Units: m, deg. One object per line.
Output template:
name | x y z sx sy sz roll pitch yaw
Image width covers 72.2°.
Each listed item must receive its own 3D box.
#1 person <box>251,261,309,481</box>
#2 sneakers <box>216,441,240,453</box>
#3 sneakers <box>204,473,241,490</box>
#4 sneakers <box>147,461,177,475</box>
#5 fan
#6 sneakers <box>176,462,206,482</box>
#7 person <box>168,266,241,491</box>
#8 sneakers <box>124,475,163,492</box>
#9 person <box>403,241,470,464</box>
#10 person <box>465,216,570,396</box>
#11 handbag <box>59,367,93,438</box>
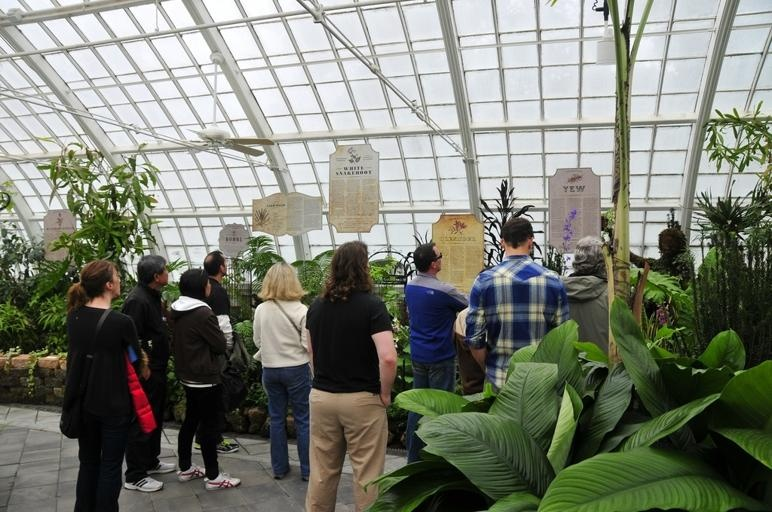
person | -0.826 0.979 4.531 0.578 1.857 0.347 0 3 42
sneakers | -1.571 1.888 5.276 0.223 0.089 0.093 2 5 -2
sneakers | -1.352 1.833 4.384 0.300 0.120 0.106 1 1 -20
sneakers | -1.984 1.856 4.687 0.236 0.091 0.083 0 -2 -13
fan | -3.166 -2.942 10.094 1.539 1.568 1.750 2 15 -15
sneakers | -1.650 1.842 4.562 0.298 0.120 0.114 -1 1 -33
person | -1.538 1.005 4.381 0.512 1.808 0.362 -1 3 30
sneakers | -2.006 1.863 4.384 0.307 0.115 0.116 0 -5 5
person | 0.417 0.498 4.291 0.519 1.217 0.318 -2 2 9
person | 0.895 0.592 3.633 0.695 1.668 0.473 -4 18 9
handbag | -2.033 0.962 3.464 0.226 0.316 0.069 -2 2 14
